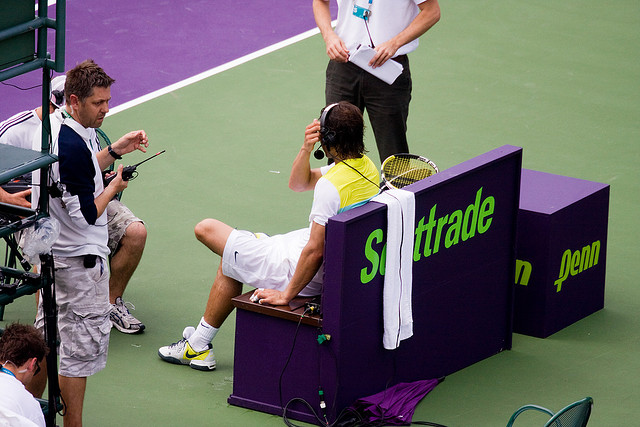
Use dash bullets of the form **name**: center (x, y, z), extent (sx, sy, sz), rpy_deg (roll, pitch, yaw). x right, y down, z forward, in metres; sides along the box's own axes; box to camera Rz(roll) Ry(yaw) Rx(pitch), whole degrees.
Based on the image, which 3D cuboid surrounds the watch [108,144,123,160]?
- **watch**: center (-1.672, -0.478, 6.256), extent (0.044, 0.112, 0.109), rpy_deg (-27, 26, -12)

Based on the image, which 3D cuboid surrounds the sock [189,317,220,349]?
- **sock**: center (-0.940, 1.023, 6.398), extent (0.111, 0.256, 0.262), rpy_deg (15, 2, -3)

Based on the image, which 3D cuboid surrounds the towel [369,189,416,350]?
- **towel**: center (0.578, 0.424, 5.861), extent (0.298, 1.211, 0.432), rpy_deg (16, 29, 40)

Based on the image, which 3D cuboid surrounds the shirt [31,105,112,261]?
- **shirt**: center (-1.731, -0.047, 5.703), extent (0.462, 0.911, 0.732), rpy_deg (0, -5, -15)

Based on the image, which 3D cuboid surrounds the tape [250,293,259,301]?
- **tape**: center (-0.483, 0.636, 5.877), extent (0.039, 0.041, 0.099), rpy_deg (1, 10, -24)
